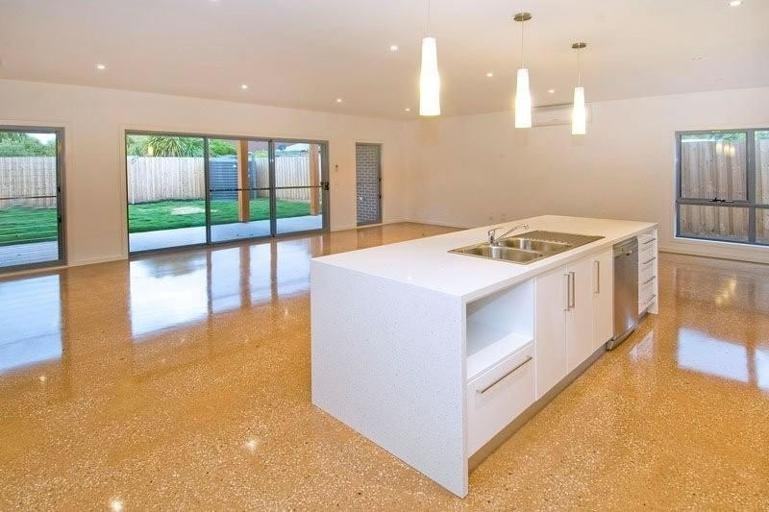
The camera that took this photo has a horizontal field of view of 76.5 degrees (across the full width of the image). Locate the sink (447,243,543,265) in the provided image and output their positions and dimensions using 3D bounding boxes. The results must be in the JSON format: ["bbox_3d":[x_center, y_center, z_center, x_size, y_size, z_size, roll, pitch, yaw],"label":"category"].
[{"bbox_3d":[1.193,-0.016,4.673,0.365,0.171,0.445,-9,11,-40],"label":"sink"}]

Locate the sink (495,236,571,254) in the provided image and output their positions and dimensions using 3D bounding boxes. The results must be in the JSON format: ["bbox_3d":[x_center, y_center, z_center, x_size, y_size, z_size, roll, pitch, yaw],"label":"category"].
[{"bbox_3d":[1.505,-0.095,4.993,0.375,0.143,0.307,5,11,44],"label":"sink"}]
